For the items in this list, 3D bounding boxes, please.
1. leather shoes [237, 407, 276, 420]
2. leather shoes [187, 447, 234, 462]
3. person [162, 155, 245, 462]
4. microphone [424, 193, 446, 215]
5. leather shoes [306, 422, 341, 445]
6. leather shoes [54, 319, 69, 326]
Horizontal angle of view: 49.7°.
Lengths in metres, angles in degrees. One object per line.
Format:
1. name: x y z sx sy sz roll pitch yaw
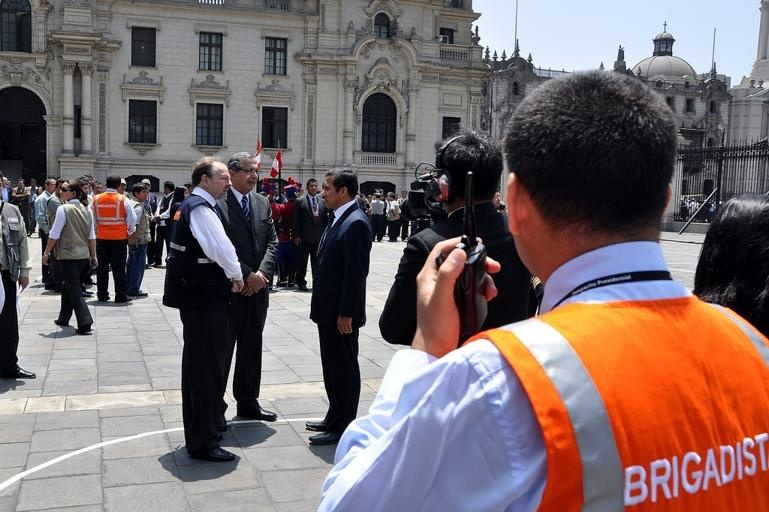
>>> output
1. leather shoes: -1.045 1.303 6.828 0.335 0.132 0.118 -2 0 3
2. leather shoes: -1.244 1.420 6.003 0.341 0.135 0.124 0 5 -3
3. person: -1.341 0.371 6.149 0.587 2.145 0.801 0 8 -11
4. microphone: 0.245 -0.252 4.120 0.069 0.034 0.093 25 -8 -29
5. leather shoes: -0.487 1.381 6.365 0.110 0.142 0.343 -6 -14 33
6. leather shoes: -3.999 0.840 10.275 0.182 0.077 0.067 13 10 31
